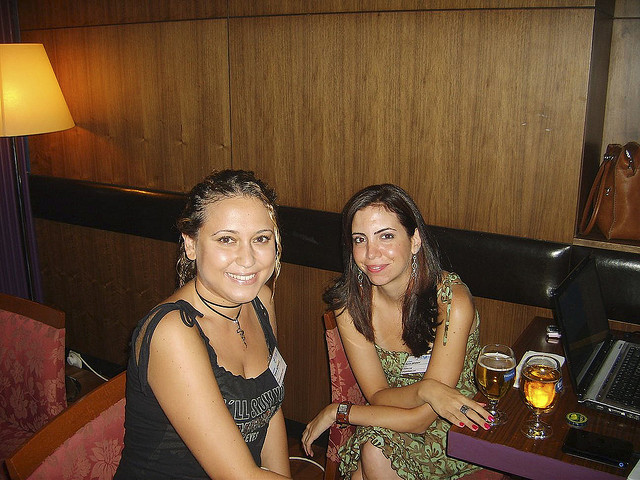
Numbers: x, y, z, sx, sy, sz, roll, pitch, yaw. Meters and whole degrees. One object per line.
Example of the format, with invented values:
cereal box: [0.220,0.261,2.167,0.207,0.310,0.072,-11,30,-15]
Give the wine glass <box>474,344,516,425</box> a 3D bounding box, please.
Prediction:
wine glass: [0.642,0.524,1.782,0.131,0.235,0.193,10,18,25]

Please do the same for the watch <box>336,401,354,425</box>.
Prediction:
watch: [0.102,0.763,2.133,0.064,0.085,0.082,0,25,20]

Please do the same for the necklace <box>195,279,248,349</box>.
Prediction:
necklace: [-0.350,0.261,1.762,0.148,0.281,0.023,-21,4,-34]

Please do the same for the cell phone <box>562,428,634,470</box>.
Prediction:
cell phone: [0.914,0.683,1.590,0.213,0.035,0.122,9,18,20]

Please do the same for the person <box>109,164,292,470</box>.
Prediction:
person: [-0.392,0.357,1.779,0.535,1.196,0.654,5,16,10]

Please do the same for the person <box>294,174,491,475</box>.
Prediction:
person: [0.339,0.423,2.117,0.741,1.272,0.598,8,17,21]

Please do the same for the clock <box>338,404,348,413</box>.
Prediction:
clock: [0.101,0.746,2.143,0.042,0.029,0.036,5,17,10]

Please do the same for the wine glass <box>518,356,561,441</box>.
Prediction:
wine glass: [0.779,0.542,1.716,0.145,0.285,0.170,6,16,32]

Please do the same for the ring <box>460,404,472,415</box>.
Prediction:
ring: [0.542,0.624,1.794,0.034,0.023,0.051,-3,18,-17]
